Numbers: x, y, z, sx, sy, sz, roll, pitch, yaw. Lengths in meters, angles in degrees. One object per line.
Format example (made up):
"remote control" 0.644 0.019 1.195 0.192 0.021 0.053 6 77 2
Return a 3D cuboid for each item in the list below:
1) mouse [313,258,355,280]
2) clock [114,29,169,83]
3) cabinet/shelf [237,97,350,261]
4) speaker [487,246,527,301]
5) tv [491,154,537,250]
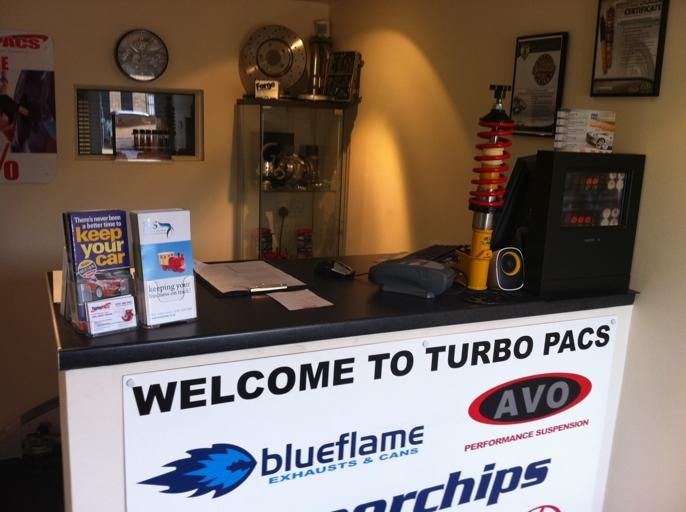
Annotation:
"mouse" -0.029 0.053 2.383 0.148 0.048 0.078 14 17 35
"clock" -1.349 -1.333 3.718 0.323 0.365 0.055 -3 -10 -15
"cabinet/shelf" -0.355 -0.524 4.014 0.915 1.157 0.403 -1 14 -6
"speaker" 0.684 0.041 2.244 0.111 0.166 0.089 4 11 26
"tv" 0.691 -0.208 2.223 0.149 0.314 0.296 16 15 15
